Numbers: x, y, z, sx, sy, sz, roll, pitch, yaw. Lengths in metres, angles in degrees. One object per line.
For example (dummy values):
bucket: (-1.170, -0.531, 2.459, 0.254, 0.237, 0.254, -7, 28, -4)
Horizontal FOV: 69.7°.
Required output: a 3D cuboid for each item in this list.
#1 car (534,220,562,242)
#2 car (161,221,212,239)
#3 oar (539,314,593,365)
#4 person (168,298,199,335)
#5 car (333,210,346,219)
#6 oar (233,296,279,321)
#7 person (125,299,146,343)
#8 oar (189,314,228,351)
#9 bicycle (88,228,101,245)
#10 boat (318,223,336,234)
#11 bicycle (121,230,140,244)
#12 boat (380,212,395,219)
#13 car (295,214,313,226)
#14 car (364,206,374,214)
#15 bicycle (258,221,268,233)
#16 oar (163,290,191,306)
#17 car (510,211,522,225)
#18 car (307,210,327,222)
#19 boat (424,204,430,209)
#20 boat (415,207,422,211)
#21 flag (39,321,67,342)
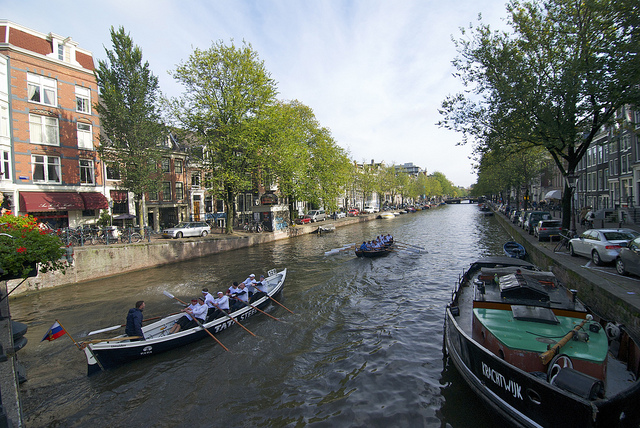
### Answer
car: (18.757, 1.277, 37.862, 1.276, 1.073, 2.219, 0, 11, 20)
car: (-12.711, 1.448, 44.011, 1.822, 1.248, 4.230, -3, -5, 37)
oar: (10.704, 5.524, 20.012, 4.211, 0.514, 0.615, -22, -5, -38)
person: (-7.390, 5.513, 25.159, 0.613, 1.544, 1.625, 3, 9, 35)
car: (3.240, 0.085, 76.934, 1.455, 1.111, 3.282, -2, -3, 6)
oar: (-3.881, 5.609, 27.407, 2.845, 0.152, 0.132, 26, 18, -11)
person: (-9.596, 5.565, 24.029, 0.911, 2.038, 0.775, -5, 8, -24)
oar: (-6.179, 6.504, 25.279, 3.112, 0.111, 0.153, 33, 18, 5)
bicycle: (-17.460, 1.661, 35.920, 0.728, 1.177, 0.555, -7, 9, -35)
boat: (0.823, 1.780, 59.132, 0.795, 0.799, 2.650, -4, 2, 25)
bicycle: (-15.385, 1.916, 37.656, 0.639, 0.809, 1.349, -6, -7, 37)
boat: (13.077, 0.229, 88.519, 1.171, 0.881, 4.234, -8, -11, 32)
car: (-2.332, 0.793, 64.191, 1.202, 0.984, 2.135, -4, -7, 27)
car: (10.237, -1.163, 96.171, 1.347, 0.949, 1.945, -2, -7, 20)
bicycle: (-6.398, 1.355, 51.789, 0.819, 1.001, 1.567, 0, 7, 13)
oar: (-9.090, 5.351, 29.266, 2.236, 0.151, 0.238, 35, 12, -30)
car: (23.614, 0.331, 55.726, 1.078, 0.933, 1.820, 0, 11, 15)
car: (-0.423, 0.194, 69.969, 1.476, 1.138, 2.354, -5, -7, 34)
boat: (30.653, -2.299, 131.922, 1.525, 0.857, 2.219, -1, 0, 39)
boat: (26.481, -1.546, 123.764, 1.547, 0.511, 1.589, 4, 6, 34)
flag: (-13.167, 5.759, 22.889, 0.948, 1.078, 0.519, -1, 8, 5)
